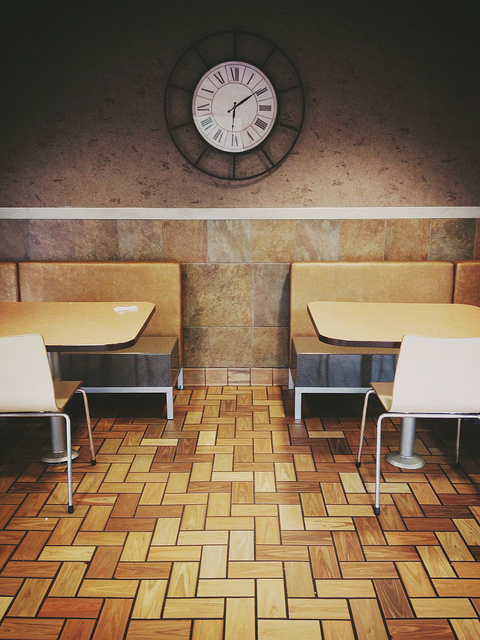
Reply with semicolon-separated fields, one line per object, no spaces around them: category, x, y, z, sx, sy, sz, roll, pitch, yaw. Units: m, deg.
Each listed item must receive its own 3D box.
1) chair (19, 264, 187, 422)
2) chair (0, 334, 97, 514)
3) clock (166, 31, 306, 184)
chair;-1.015;0.104;3.678;1.188;1.017;0.595;1;12;7
chair;-0.894;0.426;2.407;0.312;0.811;0.517;-2;9;-3
clock;-0.030;-1.510;3.682;1.020;0.962;0.096;3;21;-1
